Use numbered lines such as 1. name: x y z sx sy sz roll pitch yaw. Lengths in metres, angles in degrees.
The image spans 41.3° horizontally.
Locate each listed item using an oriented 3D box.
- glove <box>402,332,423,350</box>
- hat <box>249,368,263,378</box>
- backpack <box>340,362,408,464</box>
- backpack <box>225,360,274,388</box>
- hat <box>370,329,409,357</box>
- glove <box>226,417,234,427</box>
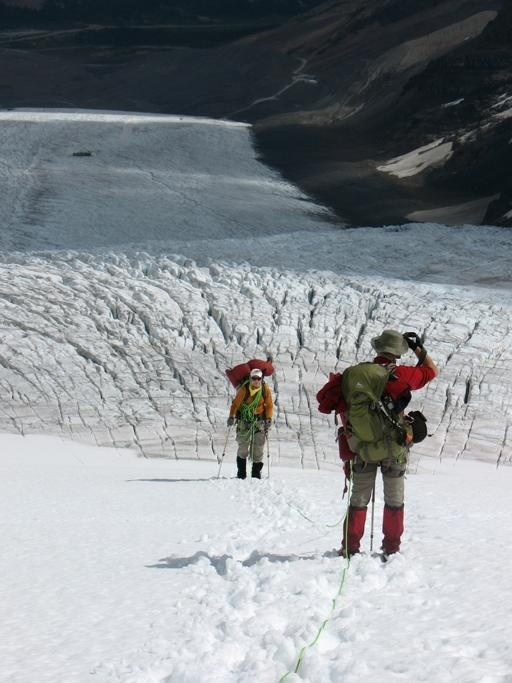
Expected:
1. glove: 0.984 -0.013 4.245 0.111 0.120 0.116 11 42 28
2. hat: 0.010 0.307 6.792 0.127 0.043 0.137 -2 3 2
3. backpack: 0.742 0.445 4.193 0.413 0.597 0.275 -2 0 9
4. backpack: -0.070 0.265 6.893 0.382 0.123 0.380 -25 -28 35
5. hat: 0.846 0.015 4.290 0.203 0.091 0.195 1 34 -8
6. glove: -0.271 0.827 7.015 0.090 0.093 0.038 -1 -1 2
